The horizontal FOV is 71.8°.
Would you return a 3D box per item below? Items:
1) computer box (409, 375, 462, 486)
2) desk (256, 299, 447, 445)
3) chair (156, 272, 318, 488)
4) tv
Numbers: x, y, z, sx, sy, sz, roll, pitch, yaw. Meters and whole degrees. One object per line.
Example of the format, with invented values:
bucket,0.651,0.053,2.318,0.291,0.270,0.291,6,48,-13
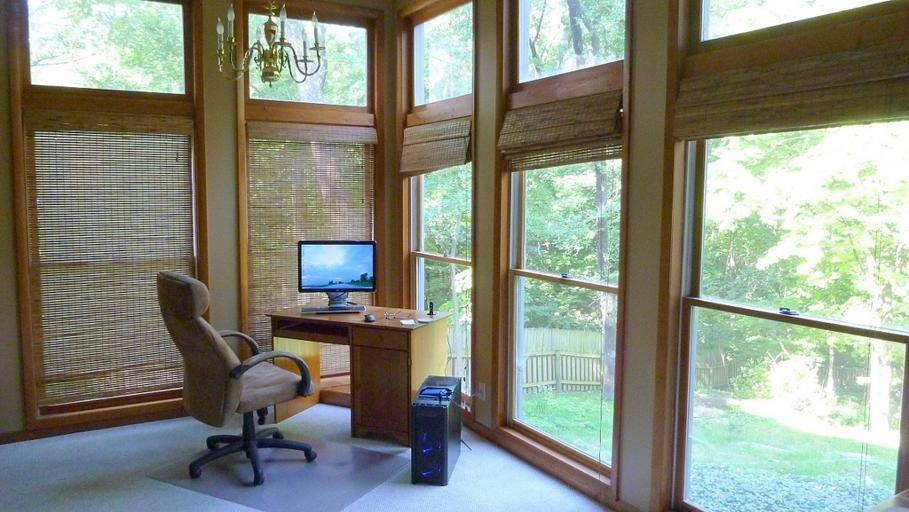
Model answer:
computer box,-0.176,1.543,5.597,0.426,0.572,0.441,2,1,5
desk,-0.939,1.042,6.523,2.434,1.346,1.248,0,0,24
chair,-1.947,1.051,5.500,1.228,1.805,0.772,2,1,-32
tv,-1.267,0.218,6.426,0.885,0.705,0.367,1,-2,-38
